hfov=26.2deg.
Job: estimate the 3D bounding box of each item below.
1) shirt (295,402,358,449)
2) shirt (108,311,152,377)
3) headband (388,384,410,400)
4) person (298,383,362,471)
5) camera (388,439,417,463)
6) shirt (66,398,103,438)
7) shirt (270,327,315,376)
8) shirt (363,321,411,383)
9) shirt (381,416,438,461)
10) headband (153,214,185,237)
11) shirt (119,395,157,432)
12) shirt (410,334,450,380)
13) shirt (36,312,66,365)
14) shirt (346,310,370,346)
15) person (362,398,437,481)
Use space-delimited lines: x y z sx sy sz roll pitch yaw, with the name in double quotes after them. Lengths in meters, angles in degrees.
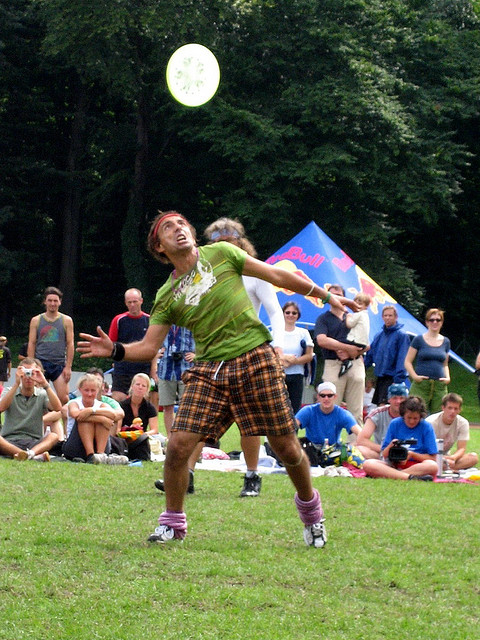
0.877 1.044 10.500 0.600 0.404 0.278 1 6 7 "shirt"
-1.207 0.275 11.456 0.458 0.729 0.562 0 6 -4 "shirt"
1.602 0.717 10.521 0.136 0.115 0.171 1 -9 -2 "headband"
0.924 1.080 10.408 0.921 0.734 0.488 0 -10 -2 "person"
1.513 1.223 9.666 0.290 0.211 0.151 1 -7 5 "camera"
-1.490 0.942 9.955 0.487 0.514 0.309 0 -4 -6 "shirt"
0.494 0.299 9.737 0.610 0.573 0.231 2 -5 -3 "shirt"
1.793 0.372 12.184 0.419 0.662 0.607 2 6 9 "shirt"
1.681 1.167 10.012 0.560 0.444 0.317 -4 -3 37 "shirt"
-0.465 -0.614 6.716 0.197 0.148 0.103 0 6 -6 "headband"
-1.099 1.004 11.004 0.480 0.346 0.230 3 -2 -21 "shirt"
2.199 0.426 11.928 0.585 0.482 0.280 4 -13 -12 "shirt"
-2.293 0.238 12.624 0.427 0.667 0.328 7 14 14 "shirt"
1.354 0.080 11.834 0.251 0.373 0.342 1 5 6 "shirt"
1.626 1.144 9.825 0.679 0.763 0.668 1 0 -45 "person"
